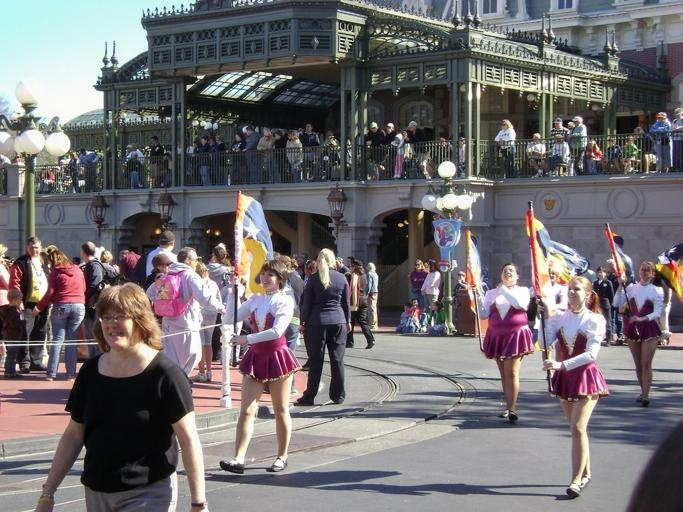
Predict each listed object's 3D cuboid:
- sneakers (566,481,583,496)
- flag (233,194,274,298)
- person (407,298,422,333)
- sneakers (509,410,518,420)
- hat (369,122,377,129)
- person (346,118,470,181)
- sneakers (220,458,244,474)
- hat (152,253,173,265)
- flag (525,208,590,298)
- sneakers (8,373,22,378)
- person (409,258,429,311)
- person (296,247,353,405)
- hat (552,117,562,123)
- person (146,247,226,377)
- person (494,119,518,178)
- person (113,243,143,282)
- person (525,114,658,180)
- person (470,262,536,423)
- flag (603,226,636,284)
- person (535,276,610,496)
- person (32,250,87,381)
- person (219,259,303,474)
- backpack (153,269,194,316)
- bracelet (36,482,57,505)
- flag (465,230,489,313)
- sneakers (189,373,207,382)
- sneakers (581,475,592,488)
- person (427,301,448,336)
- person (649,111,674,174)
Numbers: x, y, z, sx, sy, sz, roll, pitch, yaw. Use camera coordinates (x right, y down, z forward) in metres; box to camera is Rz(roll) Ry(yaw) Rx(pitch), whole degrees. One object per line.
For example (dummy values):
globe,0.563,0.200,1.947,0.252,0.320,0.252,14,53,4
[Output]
sneakers,3.044,3.074,16.994,0.215,0.180,0.101,-2,2,-21
flag,-1.442,-0.151,21.129,0.631,1.953,0.287,-18,36,-28
person,1.816,1.506,32.595,0.316,0.784,0.598,-1,2,3
sneakers,2.659,2.507,20.270,0.134,0.154,0.243,-1,2,13
hat,0.914,-3.777,37.048,0.210,0.170,0.322,3,-12,2
person,1.916,-2.873,36.396,3.188,1.388,0.636,0,2,32
sneakers,-1.489,2.866,17.573,0.285,0.171,0.137,14,20,3
hat,-2.853,0.037,20.485,0.227,0.147,0.167,-15,12,-12
flag,3.899,-0.202,23.664,1.220,2.248,0.269,-20,35,-8
sneakers,-5.759,2.104,22.807,0.141,0.069,0.083,-1,0,-12
person,2.050,0.907,33.883,0.512,1.653,0.472,-1,14,10
person,-0.334,1.184,21.644,0.958,2.571,0.604,-2,2,-17
hat,5.925,-3.767,35.765,0.324,0.150,0.380,1,-1,10
person,-2.458,0.978,20.456,1.196,2.191,1.013,1,4,20
person,4.586,-3.023,36.484,0.556,1.617,0.643,-1,2,6
person,-4.756,0.122,28.574,0.481,1.229,0.369,12,-22,-37
person,6.698,-2.796,35.013,3.647,1.238,0.672,0,2,29
person,2.556,1.368,20.201,0.803,2.457,0.388,-1,2,8
flag,5.050,-0.058,23.909,0.268,0.179,1.496,-4,-42,28
person,3.161,1.717,17.573,0.811,2.816,1.347,-1,2,10
person,-4.914,1.028,22.759,0.749,2.332,0.783,3,-10,-25
person,-1.066,1.514,17.889,0.959,2.899,0.988,-1,2,-3
backpack,-2.695,0.596,20.271,0.463,0.749,0.388,-6,5,28
bracelet,-3.260,2.638,14.357,0.165,0.242,0.288,-2,2,-10
flag,2.524,0.239,25.131,0.345,1.945,0.189,8,27,26
sneakers,-2.595,2.206,23.397,0.294,0.153,0.124,0,-5,27
sneakers,3.254,3.009,17.306,0.075,0.141,0.401,0,3,23
person,2.314,1.549,32.167,0.482,0.849,0.482,-6,-4,21
person,8.340,-2.990,34.037,0.566,1.608,0.911,-1,2,14
